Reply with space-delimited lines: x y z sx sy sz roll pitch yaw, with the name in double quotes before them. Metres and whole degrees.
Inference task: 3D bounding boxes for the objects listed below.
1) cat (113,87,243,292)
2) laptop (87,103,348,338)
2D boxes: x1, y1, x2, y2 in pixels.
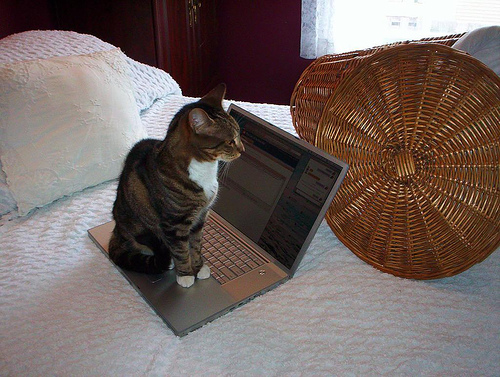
"cat" -0.223 -0.025 1.045 0.356 0.532 0.223 20 25 24
"laptop" -0.101 0.029 1.040 0.538 0.309 0.554 27 34 35
